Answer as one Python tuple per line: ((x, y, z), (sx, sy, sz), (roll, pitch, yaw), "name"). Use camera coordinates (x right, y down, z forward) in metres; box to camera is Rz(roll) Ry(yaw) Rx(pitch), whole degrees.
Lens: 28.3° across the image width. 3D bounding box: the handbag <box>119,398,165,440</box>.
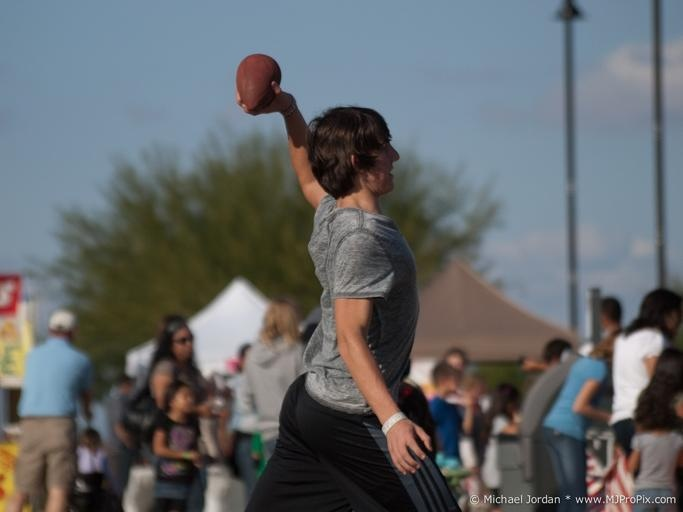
((-1.750, 1.429, 11.920), (0.252, 0.375, 0.136), (15, 10, 2), "handbag")
